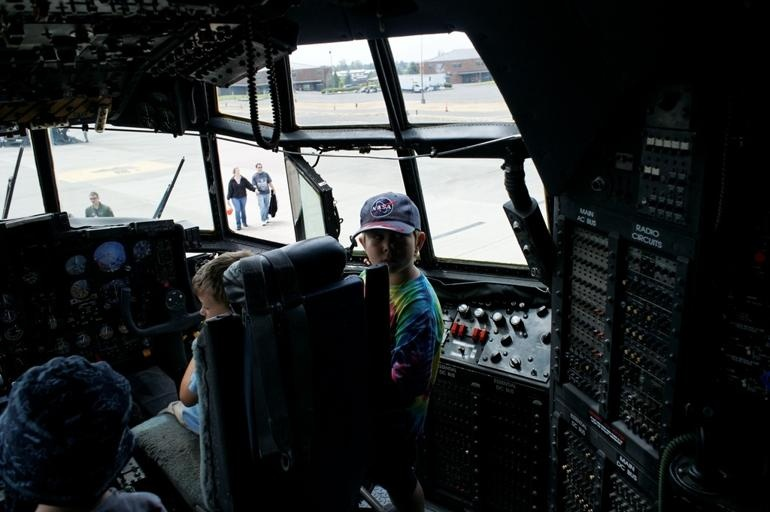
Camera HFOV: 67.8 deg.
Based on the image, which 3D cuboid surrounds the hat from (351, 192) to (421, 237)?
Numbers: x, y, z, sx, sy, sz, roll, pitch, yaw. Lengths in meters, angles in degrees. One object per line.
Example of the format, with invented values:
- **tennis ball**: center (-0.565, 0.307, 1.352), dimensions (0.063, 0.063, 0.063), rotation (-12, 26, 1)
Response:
- **hat**: center (0.021, -0.245, 3.193), dimensions (0.349, 0.256, 0.457), rotation (-3, 3, 12)
